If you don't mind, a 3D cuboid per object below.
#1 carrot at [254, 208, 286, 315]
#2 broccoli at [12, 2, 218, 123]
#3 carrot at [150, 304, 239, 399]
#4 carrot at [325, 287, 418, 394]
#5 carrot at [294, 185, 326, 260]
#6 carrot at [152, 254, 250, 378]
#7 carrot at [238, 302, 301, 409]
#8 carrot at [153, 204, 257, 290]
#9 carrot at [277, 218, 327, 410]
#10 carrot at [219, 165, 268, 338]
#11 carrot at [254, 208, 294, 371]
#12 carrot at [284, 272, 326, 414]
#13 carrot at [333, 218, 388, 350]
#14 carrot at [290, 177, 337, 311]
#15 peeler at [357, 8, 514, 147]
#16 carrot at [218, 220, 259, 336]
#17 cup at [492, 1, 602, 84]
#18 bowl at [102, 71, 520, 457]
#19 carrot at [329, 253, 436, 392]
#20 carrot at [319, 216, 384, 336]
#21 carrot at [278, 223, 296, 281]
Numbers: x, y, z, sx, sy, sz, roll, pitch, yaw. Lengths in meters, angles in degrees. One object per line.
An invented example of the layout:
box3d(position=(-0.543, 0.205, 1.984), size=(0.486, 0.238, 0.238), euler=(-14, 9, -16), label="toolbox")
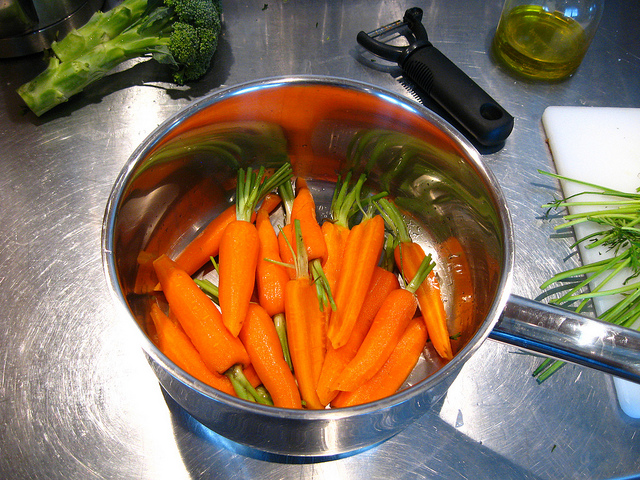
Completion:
box3d(position=(-0.117, 0.032, 1.225), size=(0.057, 0.057, 0.246), euler=(-16, 65, 30), label="carrot")
box3d(position=(-0.475, -0.427, 1.370), size=(0.406, 0.170, 0.303), euler=(-30, 69, -11), label="broccoli")
box3d(position=(-0.234, 0.212, 1.050), size=(0.046, 0.048, 0.200), euler=(-42, 79, 0), label="carrot")
box3d(position=(0.114, 0.213, 1.125), size=(0.073, 0.069, 0.254), euler=(21, 58, 26), label="carrot")
box3d(position=(-0.027, -0.044, 1.248), size=(0.042, 0.047, 0.182), euler=(-4, 48, -13), label="carrot")
box3d(position=(-0.241, 0.155, 1.143), size=(0.098, 0.099, 0.369), euler=(-28, 75, -21), label="carrot")
box3d(position=(-0.103, 0.235, 1.094), size=(0.128, 0.151, 0.214), euler=(-8, 33, -16), label="carrot")
box3d(position=(-0.255, 0.009, 1.298), size=(0.210, 0.159, 0.154), euler=(23, 36, 33), label="carrot")
box3d(position=(-0.042, 0.135, 1.156), size=(0.069, 0.045, 0.415), euler=(-2, 74, -19), label="carrot")
box3d(position=(-0.174, 0.027, 1.162), size=(0.134, 0.277, 0.178), euler=(-7, 31, -15), label="carrot")
box3d(position=(-0.106, 0.080, 1.178), size=(0.056, 0.064, 0.396), euler=(-3, 70, -18), label="carrot")
box3d(position=(-0.033, 0.203, 1.113), size=(0.073, 0.050, 0.264), euler=(0, 76, -21), label="carrot")
box3d(position=(0.084, 0.084, 1.149), size=(0.059, 0.062, 0.369), euler=(17, 74, -3), label="carrot")
box3d(position=(-0.019, 0.003, 1.220), size=(0.064, 0.068, 0.381), euler=(-14, 47, 2), label="carrot")
box3d(position=(0.337, -0.423, 1.538), size=(0.393, 0.375, 0.432), euler=(8, 31, 20), label="peeler")
box3d(position=(-0.177, 0.072, 1.168), size=(0.090, 0.093, 0.288), euler=(-4, 49, 2), label="carrot")
box3d(position=(0.598, -0.545, 1.472), size=(0.240, 0.135, 0.211), euler=(23, 71, 6), label="cup")
box3d(position=(0.098, 0.074, 1.100), size=(0.640, 0.680, 0.243), euler=(25, 17, 37), label="bowl")
box3d(position=(0.142, 0.181, 1.130), size=(0.055, 0.060, 0.349), euler=(35, 88, -18), label="carrot")
box3d(position=(0.095, 0.047, 1.212), size=(0.133, 0.100, 0.466), euler=(-13, 26, 13), label="carrot")
box3d(position=(-0.071, 0.020, 1.211), size=(0.033, 0.037, 0.128), euler=(7, 59, -24), label="carrot")
